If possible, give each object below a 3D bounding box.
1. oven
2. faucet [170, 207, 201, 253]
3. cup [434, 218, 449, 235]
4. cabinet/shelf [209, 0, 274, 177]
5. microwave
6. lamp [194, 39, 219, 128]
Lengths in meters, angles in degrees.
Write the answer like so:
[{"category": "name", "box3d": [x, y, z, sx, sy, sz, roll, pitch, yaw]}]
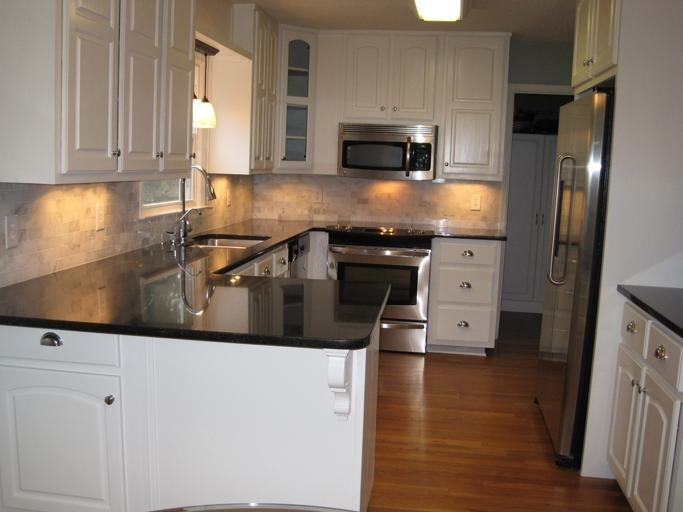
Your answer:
[{"category": "oven", "box3d": [0.450, 0.239, 5.165, 1.019, 1.295, 0.863, 1, 4, 6]}, {"category": "faucet", "box3d": [-1.092, -0.216, 3.886, 0.162, 0.274, 0.235, 13, 6, 38]}, {"category": "cup", "box3d": [0.964, -0.281, 5.236, 0.135, 0.163, 0.138, 0, 14, 0]}, {"category": "cabinet/shelf", "box3d": [-0.858, -1.336, 4.430, 0.381, 1.330, 1.151, 2, 11, 8]}, {"category": "microwave", "box3d": [0.400, -1.097, 5.196, 0.901, 0.573, 0.571, 4, 40, 7]}, {"category": "lamp", "box3d": [-0.977, -1.216, 3.916, 0.198, 0.590, 0.914, -2, 11, -15]}]
